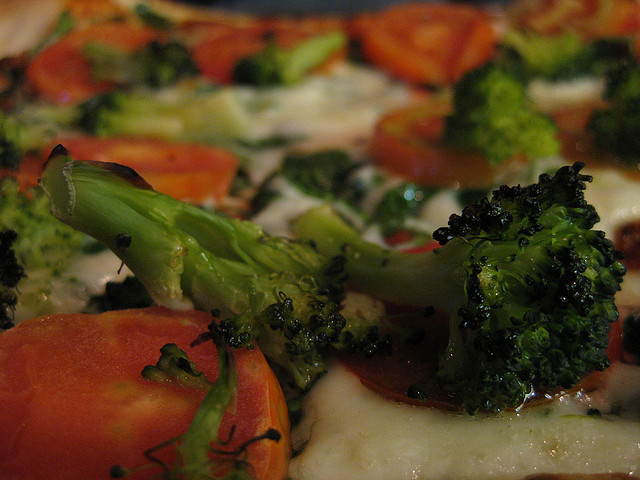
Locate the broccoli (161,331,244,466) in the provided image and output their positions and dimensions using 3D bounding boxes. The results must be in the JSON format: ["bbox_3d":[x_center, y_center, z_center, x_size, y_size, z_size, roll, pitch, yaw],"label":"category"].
[{"bbox_3d":[-0.133,0.188,0.806,0.034,0.120,0.127,37,65,-17],"label":"broccoli"}]

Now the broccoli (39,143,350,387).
[{"bbox_3d":[-0.182,0.008,0.929,0.447,0.164,0.216,29,40,-18],"label":"broccoli"}]

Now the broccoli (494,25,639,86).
[{"bbox_3d":[0.367,-0.285,1.041,0.144,0.102,0.042,15,103,9],"label":"broccoli"}]

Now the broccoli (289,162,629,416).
[{"bbox_3d":[0.224,0.032,1.010,0.385,0.495,0.288,-18,112,-39],"label":"broccoli"}]

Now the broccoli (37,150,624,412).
[{"bbox_3d":[-0.016,0.055,1.011,0.768,0.351,0.294,8,99,7],"label":"broccoli"}]
